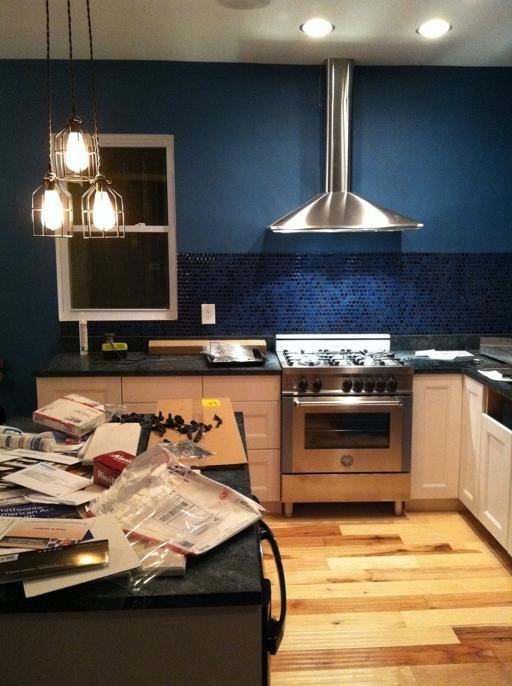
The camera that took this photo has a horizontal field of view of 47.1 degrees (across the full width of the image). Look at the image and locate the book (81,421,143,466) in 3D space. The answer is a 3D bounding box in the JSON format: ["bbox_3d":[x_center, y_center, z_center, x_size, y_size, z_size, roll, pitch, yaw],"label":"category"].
[{"bbox_3d":[-0.409,0.288,1.673,0.139,0.045,0.241,-1,7,-7],"label":"book"}]

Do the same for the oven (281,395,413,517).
[{"bbox_3d":[0.495,0.570,3.440,0.696,0.714,0.600,0,1,-1],"label":"oven"}]

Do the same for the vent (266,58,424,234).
[{"bbox_3d":[0.478,-1.164,3.462,0.857,1.010,0.940,0,10,8],"label":"vent"}]

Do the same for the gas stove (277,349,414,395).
[{"bbox_3d":[0.495,0.166,3.291,0.721,0.184,0.441,0,7,0],"label":"gas stove"}]

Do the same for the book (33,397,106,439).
[{"bbox_3d":[-0.564,0.223,1.861,0.142,0.038,0.146,12,20,29],"label":"book"}]

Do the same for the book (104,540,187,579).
[{"bbox_3d":[-0.184,0.405,1.106,0.099,0.028,0.121,-2,8,-13],"label":"book"}]

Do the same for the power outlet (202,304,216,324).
[{"bbox_3d":[-0.296,-0.187,3.681,0.117,0.162,0.015,-1,4,-5],"label":"power outlet"}]

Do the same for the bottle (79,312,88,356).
[{"bbox_3d":[-1.052,-0.052,3.594,0.057,0.242,0.174,-2,7,-17],"label":"bottle"}]
